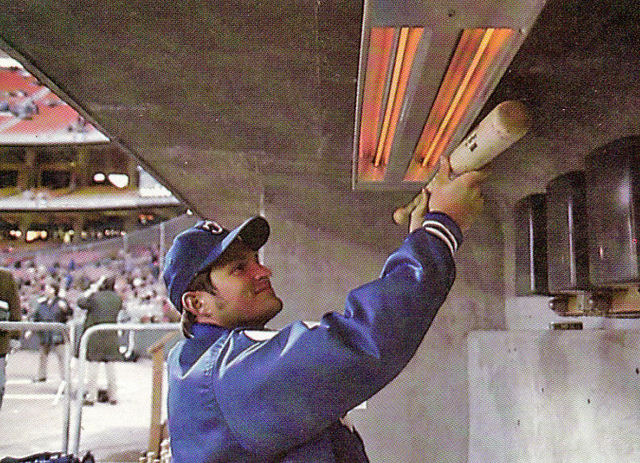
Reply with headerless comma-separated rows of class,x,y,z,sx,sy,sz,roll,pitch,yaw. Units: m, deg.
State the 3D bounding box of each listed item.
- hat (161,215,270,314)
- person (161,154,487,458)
hat,-0.340,0.064,1.885,0.354,0.180,0.228,-49,-16,28
person,-0.087,0.249,2.167,0.918,1.323,0.907,-5,3,-20
